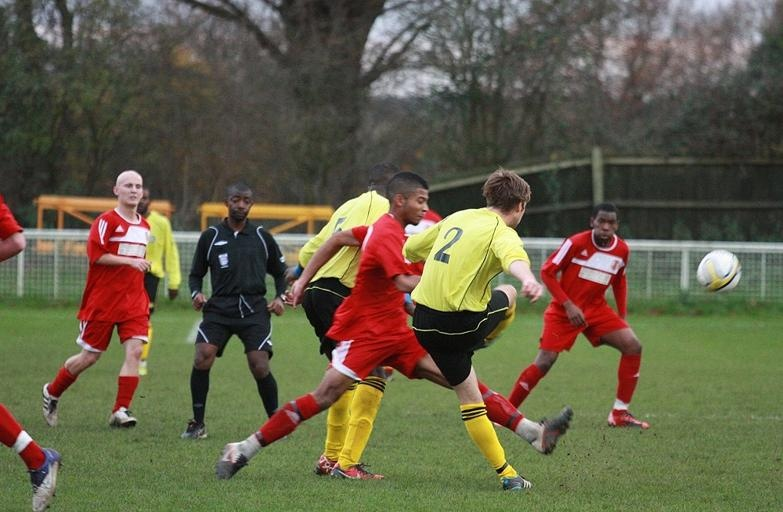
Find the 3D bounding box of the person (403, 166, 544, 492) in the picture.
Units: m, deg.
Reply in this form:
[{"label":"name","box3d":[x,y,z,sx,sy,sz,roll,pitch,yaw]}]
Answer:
[{"label":"person","box3d":[0.989,0.924,13.799,1.495,3.851,1.056,1,12,1]}]

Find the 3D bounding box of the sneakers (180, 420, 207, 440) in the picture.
[{"label":"sneakers","box3d":[-2.651,2.347,15.004,0.425,0.295,0.166,0,-4,0]}]

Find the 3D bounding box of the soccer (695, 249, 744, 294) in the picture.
[{"label":"soccer","box3d":[4.805,0.250,16.318,0.551,0.638,0.458,8,14,31]}]

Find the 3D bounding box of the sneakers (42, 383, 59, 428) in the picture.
[{"label":"sneakers","box3d":[-4.656,2.034,15.326,0.194,0.593,0.246,-4,-8,-43]}]

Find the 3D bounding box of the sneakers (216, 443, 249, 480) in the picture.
[{"label":"sneakers","box3d":[-2.008,2.559,13.908,0.569,0.263,0.250,-25,-6,24]}]

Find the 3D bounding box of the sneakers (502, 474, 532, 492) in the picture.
[{"label":"sneakers","box3d":[1.546,2.821,13.858,0.409,0.187,0.148,0,2,-11]}]

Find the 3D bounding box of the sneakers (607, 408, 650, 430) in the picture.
[{"label":"sneakers","box3d":[3.357,2.278,15.533,0.653,0.291,0.225,5,5,-1]}]

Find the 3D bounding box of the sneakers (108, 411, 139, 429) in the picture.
[{"label":"sneakers","box3d":[-3.667,2.235,15.276,0.434,0.192,0.165,-5,-10,35]}]

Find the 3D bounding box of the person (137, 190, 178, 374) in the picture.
[{"label":"person","box3d":[-3.869,0.399,17.733,1.013,2.867,0.826,0,-9,-17]}]
